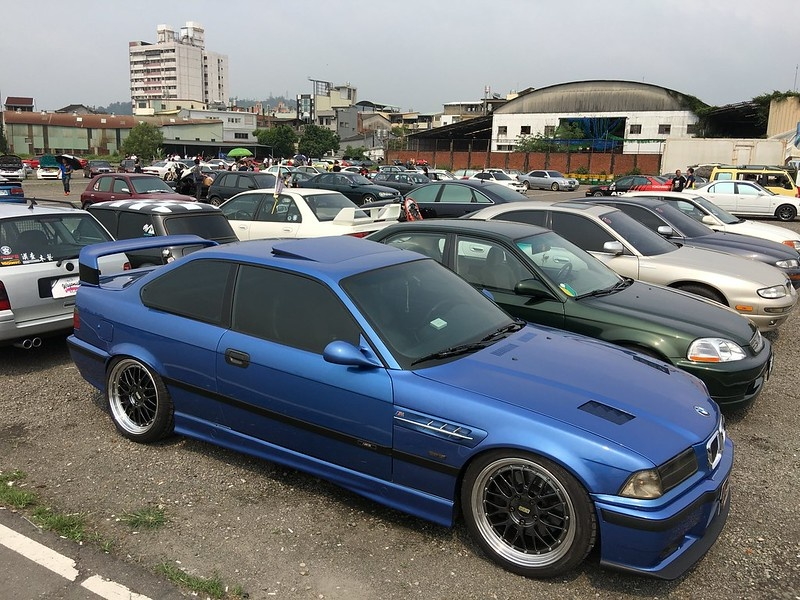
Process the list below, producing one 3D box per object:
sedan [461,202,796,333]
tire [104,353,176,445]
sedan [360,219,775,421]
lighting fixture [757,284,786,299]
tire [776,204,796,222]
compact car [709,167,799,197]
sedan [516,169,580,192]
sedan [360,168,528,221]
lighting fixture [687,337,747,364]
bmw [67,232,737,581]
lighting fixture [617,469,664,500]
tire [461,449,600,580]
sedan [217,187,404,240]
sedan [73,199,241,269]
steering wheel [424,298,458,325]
[{"bbox_3d":[3.001,-0.656,8.071,4.786,1.213,1.883,8,19,19],"label":"sedan"},{"bbox_3d":[-2.249,0.852,4.783,0.916,0.803,0.178,5,2,28],"label":"tire"},{"bbox_3d":[1.584,0.154,6.107,4.442,1.143,2.000,9,15,19],"label":"sedan"},{"bbox_3d":[4.787,-0.111,7.068,0.216,0.106,0.285,-7,10,-44],"label":"lighting fixture"},{"bbox_3d":[15.177,-3.428,21.484,0.737,0.634,0.278,6,17,35],"label":"tire"},{"bbox_3d":[15.289,-4.844,23.853,3.286,1.416,1.825,2,23,19],"label":"compact car"},{"bbox_3d":[10.888,-8.728,40.475,4.190,1.153,1.886,8,19,31],"label":"sedan"},{"bbox_3d":[1.131,-2.890,15.797,4.676,1.291,1.854,5,16,21],"label":"sedan"},{"bbox_3d":[2.987,0.475,5.163,0.431,0.111,0.274,-3,9,-17],"label":"lighting fixture"},{"bbox_3d":[-0.084,0.584,4.382,5.265,1.296,2.219,8,16,23],"label":"bmw"},{"bbox_3d":[1.402,1.070,3.212,0.247,0.092,0.150,-8,4,-15],"label":"lighting fixture"},{"bbox_3d":[0.831,1.305,3.385,0.986,0.831,0.309,-5,0,27],"label":"tire"},{"bbox_3d":[-1.951,-1.765,11.153,3.856,1.070,1.656,12,21,25],"label":"sedan"},{"bbox_3d":[-3.682,-1.219,8.518,2.422,1.002,1.297,17,27,29],"label":"sedan"},{"bbox_3d":[0.323,0.105,4.287,0.176,0.022,0.498,17,27,7],"label":"steering wheel"}]
